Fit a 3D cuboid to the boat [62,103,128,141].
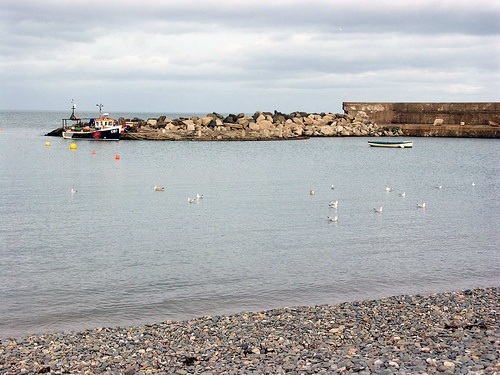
[{"bbox_3d":[-19.535,-7.135,98.336,3.262,2.612,10.247,-9,10,-35],"label":"boat"}]
